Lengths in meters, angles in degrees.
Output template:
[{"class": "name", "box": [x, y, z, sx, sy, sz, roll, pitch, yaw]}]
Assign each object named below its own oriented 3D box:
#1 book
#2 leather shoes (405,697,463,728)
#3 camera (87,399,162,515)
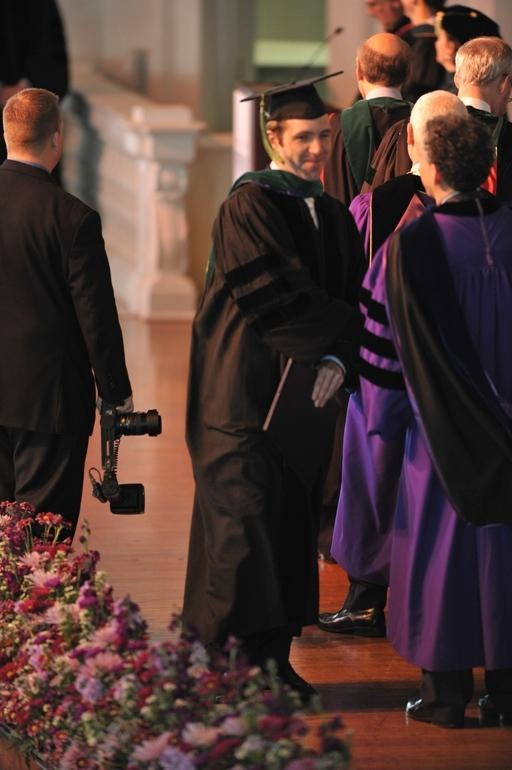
[{"class": "book", "box": [0.117, 0.040, 2.471, 0.143, 0.190, 0.081, 14, -3, 30]}, {"class": "leather shoes", "box": [0.432, 0.792, 2.462, 0.133, 0.051, 0.056, 9, 8, 27]}, {"class": "camera", "box": [-0.344, 0.228, 2.762, 0.171, 0.346, 0.346, -1, 10, -5]}]
